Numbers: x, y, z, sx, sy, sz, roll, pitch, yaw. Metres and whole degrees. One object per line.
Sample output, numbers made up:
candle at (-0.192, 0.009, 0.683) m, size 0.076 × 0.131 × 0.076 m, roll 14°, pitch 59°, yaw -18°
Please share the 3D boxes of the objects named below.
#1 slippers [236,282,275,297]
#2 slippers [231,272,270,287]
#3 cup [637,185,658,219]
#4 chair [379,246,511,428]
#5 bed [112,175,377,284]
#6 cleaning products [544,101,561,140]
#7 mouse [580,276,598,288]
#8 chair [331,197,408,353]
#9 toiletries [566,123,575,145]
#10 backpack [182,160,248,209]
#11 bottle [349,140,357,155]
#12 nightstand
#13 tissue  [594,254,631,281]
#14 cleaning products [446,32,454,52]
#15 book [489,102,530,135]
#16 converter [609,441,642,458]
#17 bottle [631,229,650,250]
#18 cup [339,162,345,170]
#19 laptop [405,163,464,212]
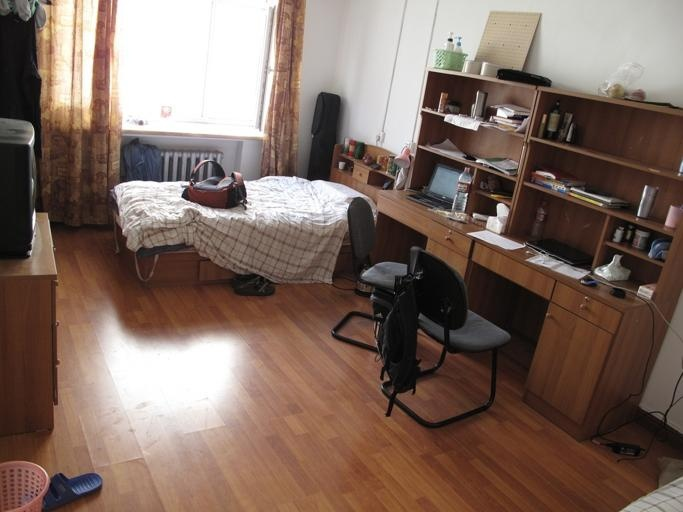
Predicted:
slippers at (-0.703, 0.281, 4.106) m, size 0.222 × 0.072 × 0.137 m, roll -4°, pitch 14°, yaw -26°
slippers at (-0.759, 0.193, 4.183) m, size 0.309 × 0.118 × 0.113 m, roll -4°, pitch 17°, yaw -21°
cup at (1.922, -0.342, 3.165) m, size 0.088 × 0.199 × 0.247 m, roll 17°, pitch 25°, yaw 29°
chair at (0.594, 0.446, 3.091) m, size 0.754 × 1.045 × 0.620 m, roll -8°, pitch 22°, yaw -25°
bed at (-0.866, -0.260, 4.286) m, size 1.618 × 0.527 × 1.209 m, roll 0°, pitch 22°, yaw -15°
cleaning products at (1.493, -0.956, 3.541) m, size 0.075 × 0.293 × 0.076 m, roll 2°, pitch 11°, yaw -42°
mouse at (1.512, 0.154, 3.094) m, size 0.062 × 0.026 × 0.083 m, roll -1°, pitch 19°, yaw 0°
chair at (0.343, 0.117, 3.775) m, size 0.663 × 1.063 × 0.528 m, roll 12°, pitch 17°, yaw 24°
toiletries at (1.580, -0.848, 3.481) m, size 0.027 × 0.121 × 0.118 m, roll 8°, pitch 16°, yaw 12°
backpack at (-1.097, -0.604, 4.332) m, size 0.570 × 0.408 × 0.414 m, roll 3°, pitch 9°, yaw 0°
bottle at (0.111, -1.195, 5.545) m, size 0.126 × 0.151 × 0.130 m, roll 3°, pitch 17°, yaw 0°
nightstand at (0.170, -0.770, 5.343) m, size 0.780 × 0.524 × 0.263 m, roll 20°, pitch -14°, yaw -3°
tissue  at (1.728, 0.088, 3.248) m, size 0.183 × 0.136 × 0.185 m, roll -12°, pitch 23°, yaw -33°
cleaning products at (0.909, -1.794, 4.203) m, size 0.067 × 0.144 × 0.393 m, roll 8°, pitch 22°, yaw 9°
book at (1.251, -1.020, 3.756) m, size 0.225 × 0.104 × 0.299 m, roll 8°, pitch 19°, yaw -5°
converter at (1.754, 1.180, 3.081) m, size 0.224 × 0.060 × 0.105 m, roll -1°, pitch 23°, yaw -13°
bottle at (1.910, -0.104, 3.204) m, size 0.113 × 0.128 × 0.115 m, roll 19°, pitch 14°, yaw 33°
cup at (0.002, -0.991, 5.542) m, size 0.066 × 0.056 × 0.071 m, roll 3°, pitch 14°, yaw -1°
laptop at (0.787, -0.584, 4.244) m, size 0.446 × 0.287 × 0.518 m, roll -6°, pitch 22°, yaw -14°
